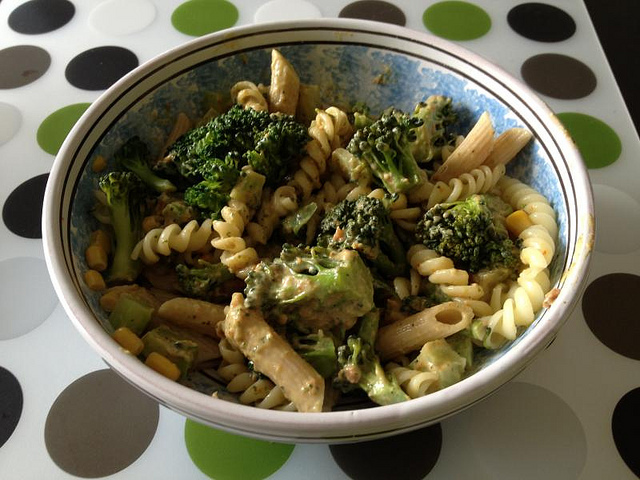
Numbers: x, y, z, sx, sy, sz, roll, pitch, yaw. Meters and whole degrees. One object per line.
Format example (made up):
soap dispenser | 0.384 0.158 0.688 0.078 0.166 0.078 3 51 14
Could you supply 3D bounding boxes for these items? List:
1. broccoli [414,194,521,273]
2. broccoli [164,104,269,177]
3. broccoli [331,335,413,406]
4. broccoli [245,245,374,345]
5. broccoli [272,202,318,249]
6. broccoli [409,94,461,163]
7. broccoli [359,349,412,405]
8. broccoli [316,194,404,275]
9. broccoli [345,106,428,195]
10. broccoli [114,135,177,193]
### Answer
broccoli | 0.494 -0.013 1.799 0.261 0.108 0.286 -20 68 14
broccoli | -0.354 -0.356 1.950 0.133 0.252 0.280 54 50 -10
broccoli | 0.155 0.399 1.639 0.213 0.078 0.162 29 54 21
broccoli | -0.040 0.152 1.722 0.378 0.183 0.339 5 36 -2
broccoli | -0.090 -0.065 1.908 0.142 0.046 0.152 20 76 19
broccoli | 0.425 -0.416 2.059 0.065 0.243 0.257 10 31 45
broccoli | 0.185 0.425 1.619 0.082 0.057 0.205 -11 34 -20
broccoli | 0.128 -0.033 1.916 0.287 0.258 0.293 0 55 -9
broccoli | 0.246 -0.316 1.930 0.254 0.244 0.289 -15 88 25
broccoli | -0.634 -0.242 2.012 0.254 0.059 0.157 38 42 2
